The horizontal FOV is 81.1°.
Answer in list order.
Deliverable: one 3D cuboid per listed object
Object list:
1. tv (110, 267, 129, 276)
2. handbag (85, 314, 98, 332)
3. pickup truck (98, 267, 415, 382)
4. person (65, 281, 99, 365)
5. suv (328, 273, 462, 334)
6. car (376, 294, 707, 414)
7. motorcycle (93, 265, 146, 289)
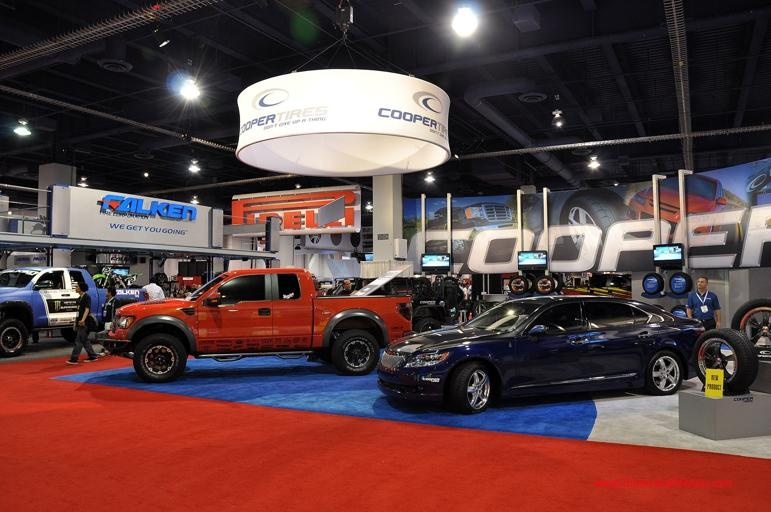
[{"bbox_3d":[-13.577,0.738,22.844,0.847,0.147,1.211,24,-16,-26],"label":"tv"},{"bbox_3d":[-8.246,1.831,12.606,0.215,0.497,0.716,1,2,-29],"label":"handbag"},{"bbox_3d":[-2.941,1.583,11.352,6.671,1.977,2.720,2,-7,-12],"label":"pickup truck"},{"bbox_3d":[-8.525,1.901,12.645,0.672,2.228,1.128,1,1,-30],"label":"person"},{"bbox_3d":[0.896,1.599,15.858,2.209,1.458,3.769,-1,9,41],"label":"suv"},{"bbox_3d":[3.065,1.612,8.794,5.785,1.505,2.418,1,-5,-13],"label":"car"},{"bbox_3d":[-12.316,0.917,20.603,1.061,1.006,2.076,-13,-17,42],"label":"motorcycle"}]
